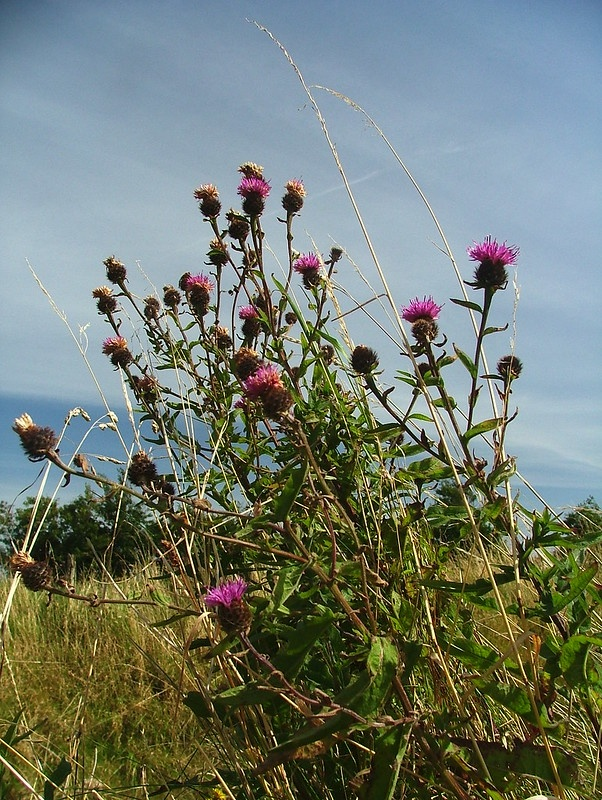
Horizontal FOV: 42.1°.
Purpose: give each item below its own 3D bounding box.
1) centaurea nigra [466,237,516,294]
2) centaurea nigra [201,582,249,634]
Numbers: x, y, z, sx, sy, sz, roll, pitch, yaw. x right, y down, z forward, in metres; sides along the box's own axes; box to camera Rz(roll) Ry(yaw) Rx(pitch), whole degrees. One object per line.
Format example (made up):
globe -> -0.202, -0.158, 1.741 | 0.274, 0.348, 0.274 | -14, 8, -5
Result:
centaurea nigra -> 0.720, -0.505, 2.909 | 0.155, 0.216, 0.240 | 8, -3, 1
centaurea nigra -> -0.229, 0.642, 2.458 | 0.156, 0.124, 0.240 | 7, -3, -2
